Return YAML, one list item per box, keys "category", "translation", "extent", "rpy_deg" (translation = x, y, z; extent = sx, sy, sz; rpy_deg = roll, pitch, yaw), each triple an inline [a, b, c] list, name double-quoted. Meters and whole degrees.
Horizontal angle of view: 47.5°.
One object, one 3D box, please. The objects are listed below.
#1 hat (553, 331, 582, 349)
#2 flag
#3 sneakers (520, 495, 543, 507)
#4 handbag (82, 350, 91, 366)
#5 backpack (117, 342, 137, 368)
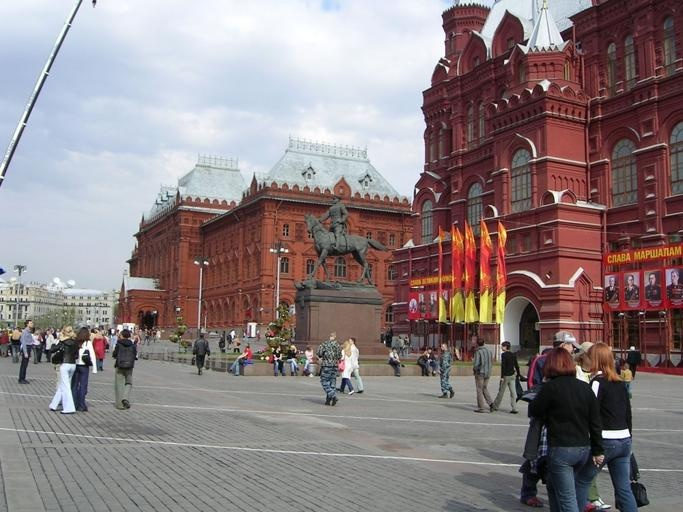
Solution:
- category: "hat"
  translation: [4.193, 1.526, 14.342]
  extent: [0.540, 0.327, 0.367]
  rpy_deg: [2, -4, -12]
- category: "flag"
  translation: [8.529, 1.060, 50.559]
  extent: [0.634, 7.154, 6.922]
  rpy_deg: [10, -12, -34]
- category: "sneakers"
  translation: [3.195, 4.096, 12.992]
  extent: [0.389, 0.164, 0.145]
  rpy_deg: [-8, -8, 42]
- category: "handbag"
  translation: [-6.673, 2.684, 20.418]
  extent: [0.131, 0.358, 0.245]
  rpy_deg: [3, -11, -9]
- category: "backpack"
  translation: [-5.827, 2.665, 21.028]
  extent: [0.601, 0.807, 0.438]
  rpy_deg: [3, -32, -27]
